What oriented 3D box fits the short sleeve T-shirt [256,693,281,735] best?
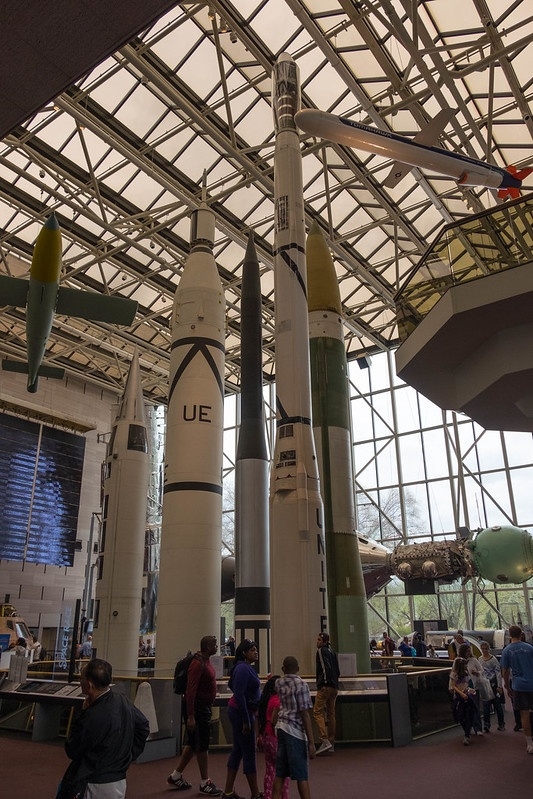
[{"bbox_3d":[0.022,2.132,3.849,0.092,0.251,0.173,8,-9,-21],"label":"short sleeve T-shirt"}]

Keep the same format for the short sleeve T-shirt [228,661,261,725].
[{"bbox_3d":[-0.125,2.075,4.075,0.250,0.563,0.424,-3,-30,-1],"label":"short sleeve T-shirt"}]
